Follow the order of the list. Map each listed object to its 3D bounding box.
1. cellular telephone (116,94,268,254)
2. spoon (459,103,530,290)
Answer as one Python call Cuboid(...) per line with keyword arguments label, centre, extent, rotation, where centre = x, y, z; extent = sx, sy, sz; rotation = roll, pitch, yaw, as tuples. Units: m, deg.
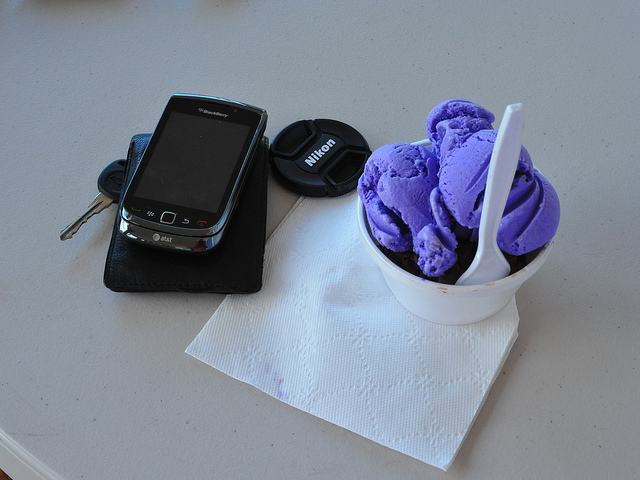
Cuboid(label="cellular telephone", centre=(-0.190, -0.106, 0.948), extent=(0.164, 0.063, 0.270), rotation=(12, 60, 6))
Cuboid(label="spoon", centre=(0.180, -0.043, 0.698), extent=(0.047, 0.240, 0.043), rotation=(-2, 31, -7))
